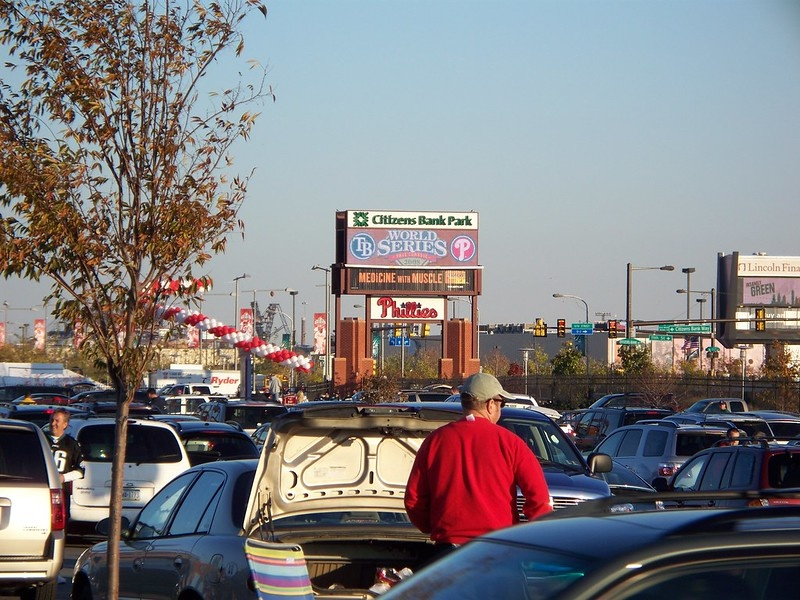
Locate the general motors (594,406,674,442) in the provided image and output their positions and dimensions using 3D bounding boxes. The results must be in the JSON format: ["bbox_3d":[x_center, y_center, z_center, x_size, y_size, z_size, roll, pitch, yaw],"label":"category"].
[{"bbox_3d":[4.469,2.458,35.729,1.180,0.663,0.730,0,-1,15],"label":"general motors"}]

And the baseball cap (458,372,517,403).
[{"bbox_3d":[0.865,0.876,18.024,0.417,0.215,0.272,13,6,-26],"label":"baseball cap"}]

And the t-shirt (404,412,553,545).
[{"bbox_3d":[0.749,1.781,18.041,1.441,1.219,0.832,-2,-5,16],"label":"t-shirt"}]

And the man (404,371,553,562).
[{"bbox_3d":[0.773,1.746,18.805,1.417,2.958,0.952,6,14,15],"label":"man"}]

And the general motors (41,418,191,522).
[{"bbox_3d":[-3.793,2.371,25.323,1.210,1.068,2.065,1,2,-9],"label":"general motors"}]

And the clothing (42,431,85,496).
[{"bbox_3d":[-4.516,2.245,24.049,0.658,0.945,0.328,-3,-23,-14],"label":"clothing"}]

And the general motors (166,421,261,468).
[{"bbox_3d":[-2.963,2.209,27.788,0.832,0.636,1.729,-12,-1,-40],"label":"general motors"}]

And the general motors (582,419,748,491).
[{"bbox_3d":[4.213,2.486,30.090,1.006,0.903,2.091,1,2,-22],"label":"general motors"}]

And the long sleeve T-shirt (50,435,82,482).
[{"bbox_3d":[-4.343,2.044,23.596,0.567,0.566,0.291,-4,-9,-7],"label":"long sleeve T-shirt"}]
